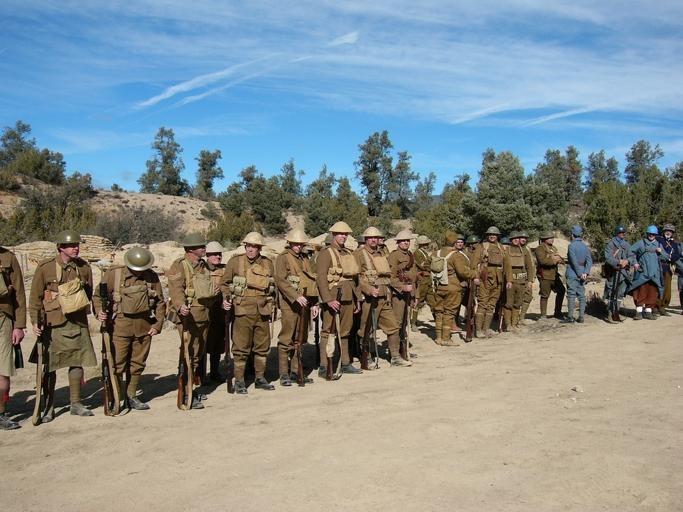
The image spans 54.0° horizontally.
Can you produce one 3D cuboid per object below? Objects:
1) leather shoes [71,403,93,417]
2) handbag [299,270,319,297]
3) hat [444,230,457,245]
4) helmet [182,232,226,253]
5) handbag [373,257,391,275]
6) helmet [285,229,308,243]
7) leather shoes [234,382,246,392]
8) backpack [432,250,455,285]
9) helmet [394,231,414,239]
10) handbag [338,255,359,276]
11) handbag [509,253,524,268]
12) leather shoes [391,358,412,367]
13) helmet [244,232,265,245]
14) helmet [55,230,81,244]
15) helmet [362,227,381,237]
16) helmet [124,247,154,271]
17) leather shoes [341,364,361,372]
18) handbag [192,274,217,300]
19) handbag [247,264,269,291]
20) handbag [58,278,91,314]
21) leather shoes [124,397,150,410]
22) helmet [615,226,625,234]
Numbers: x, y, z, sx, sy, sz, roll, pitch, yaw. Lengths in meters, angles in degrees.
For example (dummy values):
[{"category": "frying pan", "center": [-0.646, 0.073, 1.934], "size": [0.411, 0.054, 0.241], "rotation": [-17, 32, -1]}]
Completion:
[{"category": "leather shoes", "center": [-4.336, 2.614, 11.376], "size": [0.464, 0.215, 0.169], "rotation": [0, -2, 15]}, {"category": "handbag", "center": [-0.622, 0.545, 12.749], "size": [0.201, 0.496, 0.533], "rotation": [7, 14, 36]}, {"category": "hat", "center": [2.591, -0.467, 15.679], "size": [0.204, 0.246, 0.361], "rotation": [-5, -29, 1]}, {"category": "helmet", "center": [-2.503, -0.245, 12.077], "size": [0.563, 0.223, 0.385], "rotation": [-2, 6, -23]}, {"category": "handbag", "center": [0.833, 0.178, 13.615], "size": [0.346, 0.328, 0.392], "rotation": [-2, 11, -5]}, {"category": "helmet", "center": [-0.848, -0.382, 12.937], "size": [0.361, 0.261, 0.441], "rotation": [-2, 11, -1]}, {"category": "leather shoes", "center": [-1.872, 2.457, 12.513], "size": [0.248, 0.177, 0.175], "rotation": [-1, 11, 0]}, {"category": "backpack", "center": [2.536, 0.284, 15.245], "size": [0.806, 0.791, 0.454], "rotation": [5, -8, -40]}, {"category": "helmet", "center": [1.412, -0.471, 14.829], "size": [0.386, 0.186, 0.425], "rotation": [2, 10, 23]}, {"category": "handbag", "center": [0.138, 0.183, 12.925], "size": [0.294, 0.376, 0.196], "rotation": [11, -29, -41]}, {"category": "handbag", "center": [4.222, 0.140, 16.239], "size": [0.412, 0.428, 0.251], "rotation": [1, -1, -4]}, {"category": "leather shoes", "center": [1.250, 2.205, 13.863], "size": [0.419, 0.196, 0.173], "rotation": [-1, 1, 7]}, {"category": "helmet", "center": [-1.604, -0.323, 12.447], "size": [0.315, 0.277, 0.401], "rotation": [-2, 11, -2]}, {"category": "helmet", "center": [-4.590, -0.308, 11.196], "size": [0.291, 0.132, 0.240], "rotation": [-2, 0, 26]}, {"category": "helmet", "center": [0.597, -0.489, 13.608], "size": [0.239, 0.115, 0.246], "rotation": [-1, 4, 31]}, {"category": "helmet", "center": [-3.443, 0.053, 11.418], "size": [0.464, 0.422, 0.269], "rotation": [-6, 12, -20]}, {"category": "leather shoes", "center": [0.215, 2.284, 13.653], "size": [0.399, 0.188, 0.149], "rotation": [0, -3, 8]}, {"category": "handbag", "center": [-2.406, 0.505, 11.718], "size": [0.345, 0.455, 0.186], "rotation": [9, -20, -28]}, {"category": "handbag", "center": [-1.506, 0.401, 12.249], "size": [0.441, 0.434, 0.263], "rotation": [-3, 11, -10]}, {"category": "handbag", "center": [-4.435, 0.660, 11.110], "size": [0.197, 0.474, 0.440], "rotation": [-15, 6, 38]}, {"category": "leather shoes", "center": [-3.619, 2.600, 11.809], "size": [0.478, 0.208, 0.171], "rotation": [2, 0, 7]}, {"category": "helmet", "center": [6.838, -0.658, 16.407], "size": [0.164, 0.192, 0.225], "rotation": [-4, -4, -2]}]
